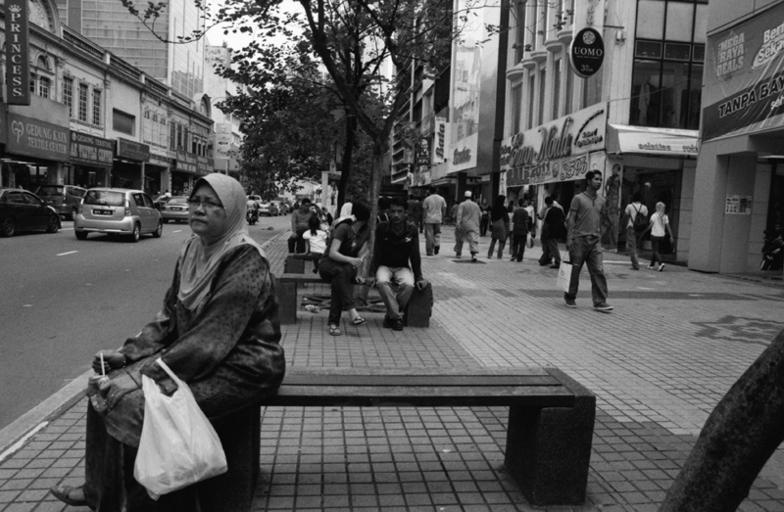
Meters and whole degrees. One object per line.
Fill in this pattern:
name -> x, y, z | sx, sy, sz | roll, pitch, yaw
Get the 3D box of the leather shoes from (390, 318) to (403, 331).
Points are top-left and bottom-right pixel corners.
leather shoes -> 0.062, 0.980, 9.554 | 0.141, 0.174, 0.399 | 0, -3, -3

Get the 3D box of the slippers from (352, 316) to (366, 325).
slippers -> -0.477, 0.923, 9.441 | 0.161, 0.165, 0.274 | 1, 3, 4

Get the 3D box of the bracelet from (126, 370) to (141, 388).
bracelet -> -1.787, 0.848, 4.562 | 0.096, 0.103, 0.030 | -8, -18, 8

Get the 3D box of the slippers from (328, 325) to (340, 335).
slippers -> -0.806, 1.017, 9.151 | 0.118, 0.093, 0.311 | 0, 2, -7

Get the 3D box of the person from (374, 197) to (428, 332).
person -> 0.101, 0.107, 9.498 | 0.732, 1.887, 0.475 | 1, 3, 3

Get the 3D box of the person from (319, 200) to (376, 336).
person -> -0.708, 0.132, 9.547 | 0.672, 1.832, 1.083 | 1, 3, -3

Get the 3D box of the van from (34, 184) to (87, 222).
van -> -14.206, -2.298, 28.121 | 1.527, 1.391, 2.734 | 2, 13, 11

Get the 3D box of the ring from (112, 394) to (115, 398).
ring -> -1.914, 0.952, 4.513 | 0.021, 0.021, 0.006 | 10, -5, 25

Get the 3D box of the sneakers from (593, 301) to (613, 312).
sneakers -> 3.706, 0.864, 11.409 | 0.386, 0.166, 0.141 | -1, 3, 21
